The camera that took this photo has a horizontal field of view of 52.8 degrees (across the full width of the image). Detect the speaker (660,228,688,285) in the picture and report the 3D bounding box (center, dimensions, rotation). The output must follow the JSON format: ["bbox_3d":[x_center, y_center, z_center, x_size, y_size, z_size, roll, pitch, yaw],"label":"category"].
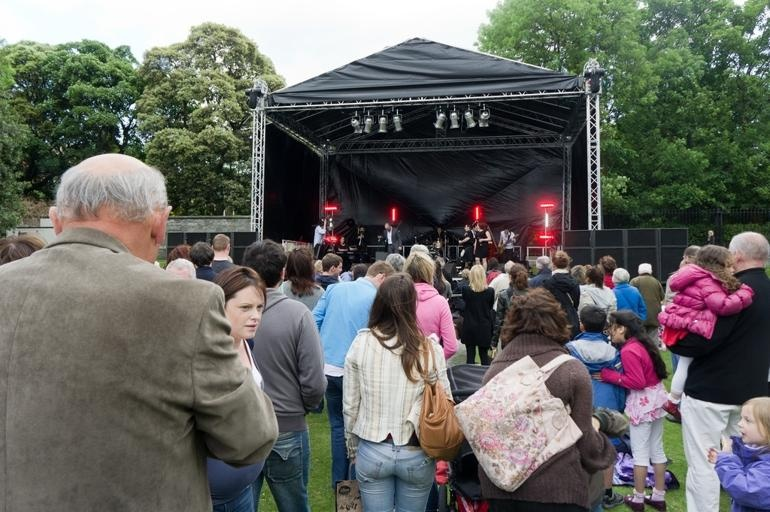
[{"bbox_3d":[6.480,0.019,17.237,0.656,1.361,0.736,0,10,30],"label":"speaker"}]

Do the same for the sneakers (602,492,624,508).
[{"bbox_3d":[2.777,2.975,9.529,0.309,0.171,0.123,3,1,-27],"label":"sneakers"}]

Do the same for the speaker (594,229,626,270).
[{"bbox_3d":[5.128,-0.213,17.303,0.445,0.738,0.467,-8,6,-5],"label":"speaker"}]
